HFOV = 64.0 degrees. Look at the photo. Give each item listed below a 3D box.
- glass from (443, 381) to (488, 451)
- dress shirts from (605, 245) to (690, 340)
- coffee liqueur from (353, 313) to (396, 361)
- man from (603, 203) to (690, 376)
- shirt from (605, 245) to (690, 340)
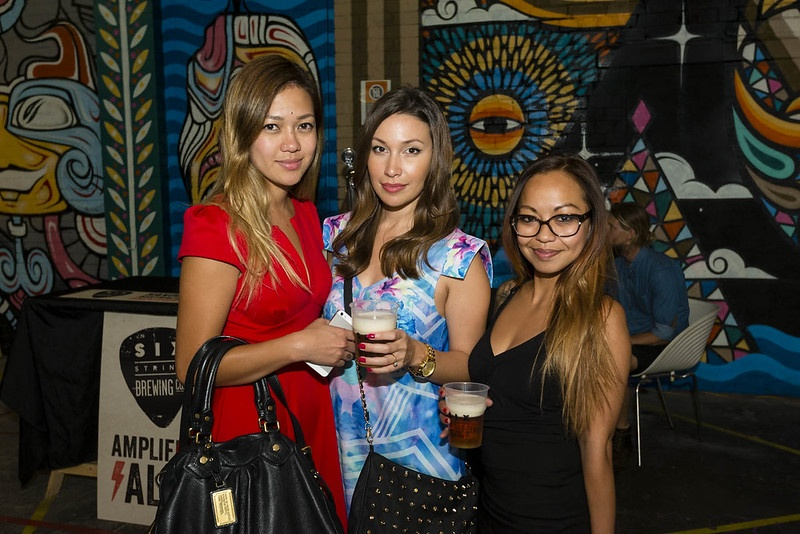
[{"bbox_3d":[0.355,0.794,3.453,0.325,0.392,0.315,1,-4,-7],"label":"glass"},{"bbox_3d":[2.152,0.240,5.584,0.468,0.645,0.781,-10,1,3],"label":"dress shirts"},{"bbox_3d":[-0.135,0.349,3.394,0.226,0.263,0.231,0,5,-4],"label":"coffee liqueur"},{"bbox_3d":[2.420,0.259,6.366,0.671,0.959,1.164,-15,15,-8],"label":"man"},{"bbox_3d":[2.152,0.240,5.584,0.468,0.645,0.781,-10,1,3],"label":"shirt"}]
